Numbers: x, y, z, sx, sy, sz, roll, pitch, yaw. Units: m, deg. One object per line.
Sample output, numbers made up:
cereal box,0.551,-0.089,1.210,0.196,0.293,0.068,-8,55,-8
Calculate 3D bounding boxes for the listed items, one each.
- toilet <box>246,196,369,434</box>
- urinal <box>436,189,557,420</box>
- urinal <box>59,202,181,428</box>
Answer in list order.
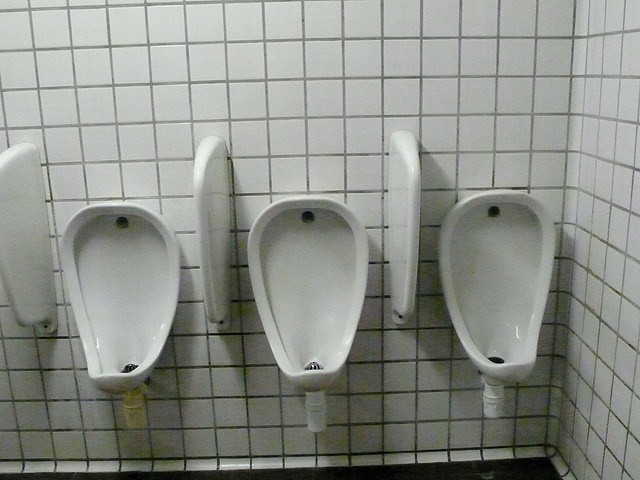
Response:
toilet,-0.043,0.194,2.603,0.350,0.727,0.337,1,4,44
urinal,0.701,0.253,2.767,0.455,0.951,0.697,-2,14,2
urinal,-0.787,0.223,2.619,0.457,0.739,0.242,-2,3,-15
